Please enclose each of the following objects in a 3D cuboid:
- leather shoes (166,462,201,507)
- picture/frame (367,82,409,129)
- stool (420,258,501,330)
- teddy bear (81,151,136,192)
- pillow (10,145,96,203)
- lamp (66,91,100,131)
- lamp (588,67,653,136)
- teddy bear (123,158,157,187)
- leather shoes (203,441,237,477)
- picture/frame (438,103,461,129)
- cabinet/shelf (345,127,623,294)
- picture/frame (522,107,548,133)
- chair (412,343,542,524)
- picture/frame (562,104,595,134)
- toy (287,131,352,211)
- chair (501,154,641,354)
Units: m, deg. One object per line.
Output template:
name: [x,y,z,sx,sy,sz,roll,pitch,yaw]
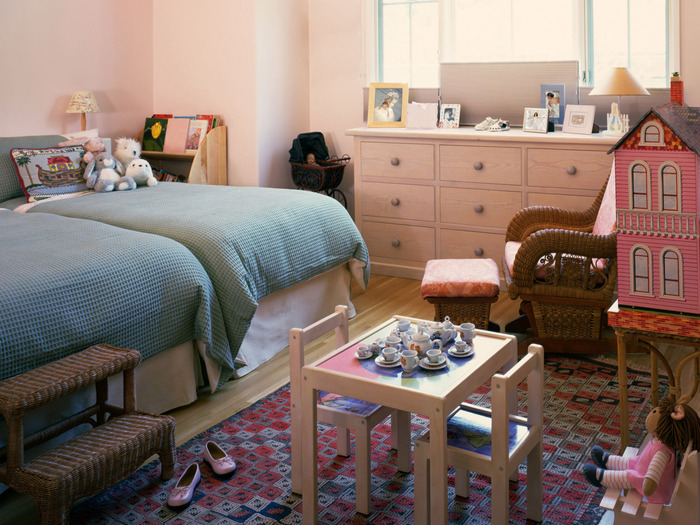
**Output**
leather shoes: [-0.623,0.847,1.941,0.077,0.054,0.217,3,10,-1]
picture/frame: [0.345,-1.354,4.411,0.420,0.485,0.021,2,-4,18]
stool: [0.712,0.185,3.158,0.455,0.396,0.512,2,20,23]
teddy bear: [-1.774,-0.676,3.757,0.349,0.312,0.283,-5,12,-8]
pillow: [-2.097,-0.609,3.574,0.414,0.292,0.087,-12,-17,-27]
lamp: [-2.195,-1.236,4.206,0.193,0.339,0.203,24,24,38]
lamp: [1.846,-1.073,3.629,0.473,0.491,0.463,3,6,38]
teddy bear: [-1.579,-0.681,3.850,0.204,0.175,0.211,9,5,-33]
leather shoes: [-0.532,0.795,2.071,0.088,0.070,0.196,-9,14,-42]
picture/frame: [0.849,-1.237,4.290,0.235,0.278,0.027,5,-1,22]
cabinet/shelf: [1.116,-0.451,4.159,2.129,1.237,0.690,8,24,26]
picture/frame: [1.407,-1.079,3.844,0.188,0.167,0.215,7,21,26]
chair: [0.484,0.591,1.744,0.378,0.610,0.601,7,20,26]
picture/frame: [1.667,-1.042,3.697,0.243,0.250,0.032,7,0,40]
toy: [-0.291,-0.808,4.683,0.407,0.734,0.565,-13,23,-41]
chair: [1.370,-0.007,3.089,0.713,1.032,0.797,4,7,23]
